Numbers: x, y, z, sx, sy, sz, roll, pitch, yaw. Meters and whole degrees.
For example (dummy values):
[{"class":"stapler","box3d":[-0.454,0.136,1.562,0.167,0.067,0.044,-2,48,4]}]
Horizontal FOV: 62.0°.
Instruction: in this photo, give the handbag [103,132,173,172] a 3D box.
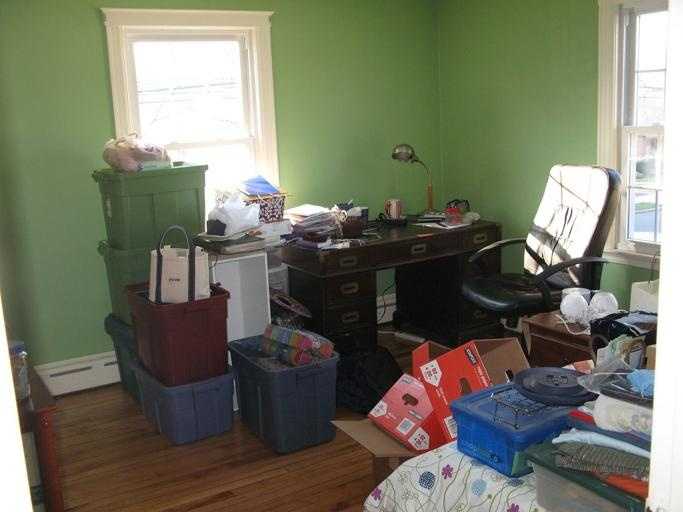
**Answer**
[{"class":"handbag","box3d":[-1.167,-0.614,3.256,0.224,0.126,0.275,15,22,43]}]

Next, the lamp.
[{"class":"lamp","box3d":[0.559,-0.605,4.458,0.304,0.577,0.608,-2,15,8]}]

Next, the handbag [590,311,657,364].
[{"class":"handbag","box3d":[1.011,0.267,2.055,0.241,0.088,0.190,-7,12,-24]}]

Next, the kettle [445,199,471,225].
[{"class":"kettle","box3d":[0.836,-0.335,4.166,0.226,0.216,0.133,1,2,-41]}]

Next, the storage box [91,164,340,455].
[{"class":"storage box","box3d":[-0.580,0.096,4.208,1.502,2.256,1.496,-10,16,-39]}]

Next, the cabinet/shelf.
[{"class":"cabinet/shelf","box3d":[0.969,0.384,2.563,0.216,0.255,0.274,-10,13,-37]}]

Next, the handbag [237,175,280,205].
[{"class":"handbag","box3d":[-0.540,-0.438,3.684,0.195,0.059,0.192,-13,38,-35]}]

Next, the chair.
[{"class":"chair","box3d":[1.113,-0.083,3.295,0.715,0.825,0.700,-9,16,-14]}]

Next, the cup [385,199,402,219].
[{"class":"cup","box3d":[0.383,-0.346,4.214,0.153,0.152,0.093,-6,9,-36]}]
